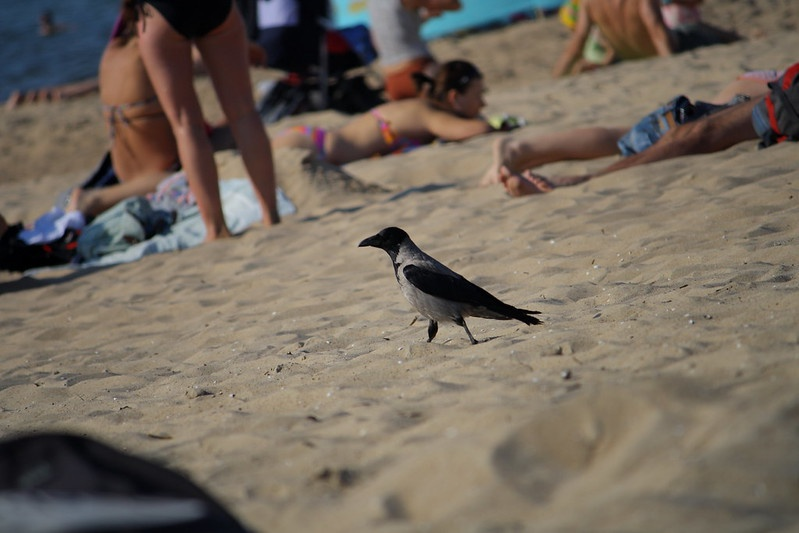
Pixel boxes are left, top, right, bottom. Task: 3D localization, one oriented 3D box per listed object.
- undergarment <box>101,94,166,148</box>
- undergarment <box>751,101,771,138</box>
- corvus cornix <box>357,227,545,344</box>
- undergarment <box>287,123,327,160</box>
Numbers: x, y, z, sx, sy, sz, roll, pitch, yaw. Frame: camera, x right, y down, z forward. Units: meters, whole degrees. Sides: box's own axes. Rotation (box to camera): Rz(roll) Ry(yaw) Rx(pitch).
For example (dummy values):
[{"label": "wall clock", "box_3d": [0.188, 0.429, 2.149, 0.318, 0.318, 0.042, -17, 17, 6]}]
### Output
[{"label": "undergarment", "box_3d": [-2.191, -1.208, 8.883, 0.392, 0.291, 0.300, -33, 21, -15]}, {"label": "undergarment", "box_3d": [2.541, -1.022, 7.543, 0.181, 0.184, 0.214, -1, -5, 17]}, {"label": "corvus cornix", "box_3d": [0.288, 0.108, 6.437, 0.999, 0.717, 0.329, -6, 16, 26]}, {"label": "undergarment", "box_3d": [-0.766, -1.052, 9.273, 0.267, 0.285, 0.347, -9, 13, 20]}]
